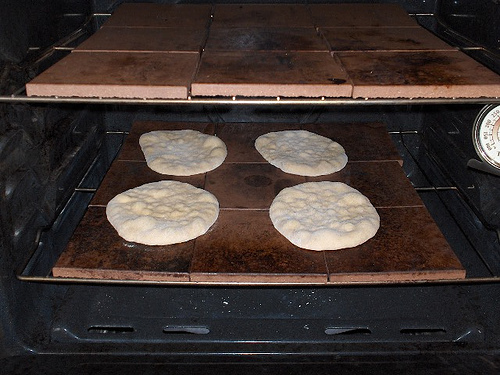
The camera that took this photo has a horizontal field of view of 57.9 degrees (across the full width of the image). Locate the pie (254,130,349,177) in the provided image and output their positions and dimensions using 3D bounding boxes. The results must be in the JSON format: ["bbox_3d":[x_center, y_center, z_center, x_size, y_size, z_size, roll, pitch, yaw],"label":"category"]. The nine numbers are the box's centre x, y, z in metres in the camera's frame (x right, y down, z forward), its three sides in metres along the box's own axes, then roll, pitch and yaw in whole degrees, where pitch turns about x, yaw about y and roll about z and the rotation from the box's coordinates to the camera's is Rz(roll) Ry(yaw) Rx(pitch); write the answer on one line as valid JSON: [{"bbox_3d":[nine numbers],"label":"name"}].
[{"bbox_3d":[0.238,-0.161,2.045,0.284,0.028,0.265,10,30,11],"label":"pie"}]

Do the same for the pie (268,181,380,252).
[{"bbox_3d":[0.278,0.094,1.706,0.395,0.045,0.368,-12,45,-13],"label":"pie"}]
